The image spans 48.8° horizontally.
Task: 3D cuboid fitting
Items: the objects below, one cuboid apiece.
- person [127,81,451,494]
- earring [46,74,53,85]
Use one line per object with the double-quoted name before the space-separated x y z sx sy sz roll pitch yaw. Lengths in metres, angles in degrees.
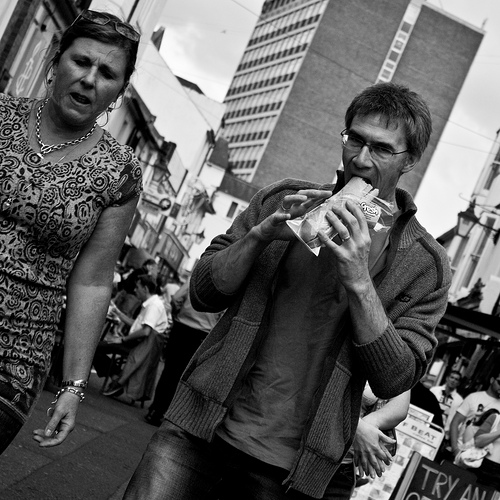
"person" 0.250 0.126 1.823 0.863 1.421 0.510 22 -2 -3
"earring" -0.748 -0.638 2.053 0.008 0.029 0.030 27 37 -29
